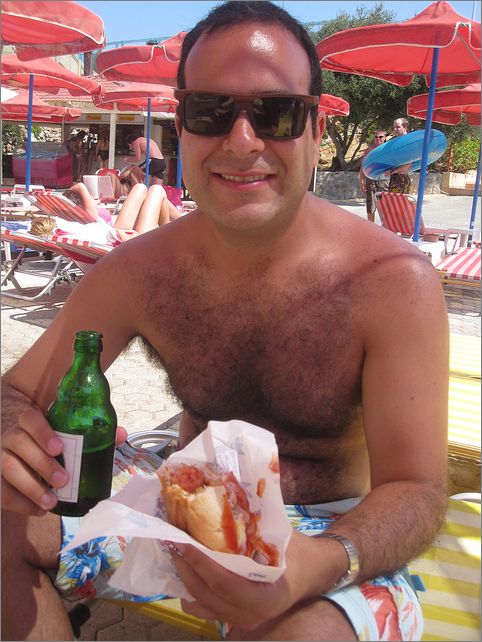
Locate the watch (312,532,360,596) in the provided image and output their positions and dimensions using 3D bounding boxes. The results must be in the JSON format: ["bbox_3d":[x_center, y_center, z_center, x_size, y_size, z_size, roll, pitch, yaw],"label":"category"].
[{"bbox_3d":[0.179,0.449,1.022,0.065,0.088,0.080,0,12,-13],"label":"watch"}]

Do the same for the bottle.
[{"bbox_3d":[-0.300,0.219,1.042,0.129,0.400,0.165,-1,13,-19],"label":"bottle"}]
